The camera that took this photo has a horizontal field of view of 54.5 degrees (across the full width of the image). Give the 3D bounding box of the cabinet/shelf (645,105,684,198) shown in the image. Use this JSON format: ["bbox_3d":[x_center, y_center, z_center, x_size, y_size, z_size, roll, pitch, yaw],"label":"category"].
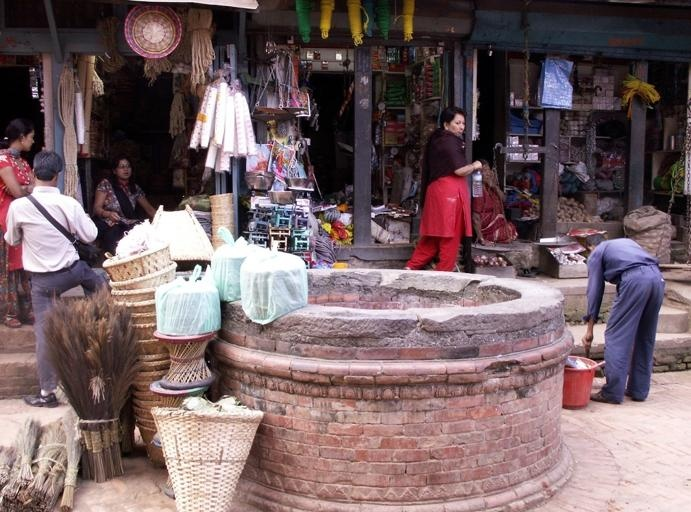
[{"bbox_3d":[5.379,-1.747,11.323,0.415,1.568,0.872,1,10,5],"label":"cabinet/shelf"}]

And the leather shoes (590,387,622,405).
[{"bbox_3d":[2.624,1.436,6.793,0.122,0.114,0.269,0,9,-43],"label":"leather shoes"}]

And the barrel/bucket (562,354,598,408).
[{"bbox_3d":[2.258,1.258,6.591,0.351,0.489,0.308,1,10,2],"label":"barrel/bucket"}]

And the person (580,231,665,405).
[{"bbox_3d":[2.761,0.677,6.757,0.727,1.659,0.534,3,10,14],"label":"person"}]

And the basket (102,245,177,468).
[{"bbox_3d":[-1.599,0.790,5.267,0.518,1.683,0.547,-2,10,-11],"label":"basket"}]

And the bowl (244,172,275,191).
[{"bbox_3d":[-1.021,-0.880,7.936,0.232,0.144,0.239,-2,3,0],"label":"bowl"}]

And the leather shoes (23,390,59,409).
[{"bbox_3d":[-2.936,1.349,6.463,0.369,0.178,0.156,4,1,27],"label":"leather shoes"}]

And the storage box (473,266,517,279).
[{"bbox_3d":[1.969,0.202,8.660,0.310,0.101,0.297,1,3,-7],"label":"storage box"}]

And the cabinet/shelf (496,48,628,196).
[{"bbox_3d":[3.429,-2.172,10.915,2.409,2.344,0.784,3,-2,-21],"label":"cabinet/shelf"}]

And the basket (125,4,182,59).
[{"bbox_3d":[-2.110,-2.477,7.375,0.614,0.557,0.237,-2,10,-16],"label":"basket"}]

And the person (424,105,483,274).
[{"bbox_3d":[1.287,-0.818,8.602,0.722,2.048,0.656,7,11,42],"label":"person"}]

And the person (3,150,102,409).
[{"bbox_3d":[-2.671,0.250,6.208,0.812,2.423,0.524,-4,11,-23],"label":"person"}]

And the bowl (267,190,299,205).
[{"bbox_3d":[-0.741,-0.677,7.742,0.289,0.155,0.154,0,10,-6],"label":"bowl"}]
